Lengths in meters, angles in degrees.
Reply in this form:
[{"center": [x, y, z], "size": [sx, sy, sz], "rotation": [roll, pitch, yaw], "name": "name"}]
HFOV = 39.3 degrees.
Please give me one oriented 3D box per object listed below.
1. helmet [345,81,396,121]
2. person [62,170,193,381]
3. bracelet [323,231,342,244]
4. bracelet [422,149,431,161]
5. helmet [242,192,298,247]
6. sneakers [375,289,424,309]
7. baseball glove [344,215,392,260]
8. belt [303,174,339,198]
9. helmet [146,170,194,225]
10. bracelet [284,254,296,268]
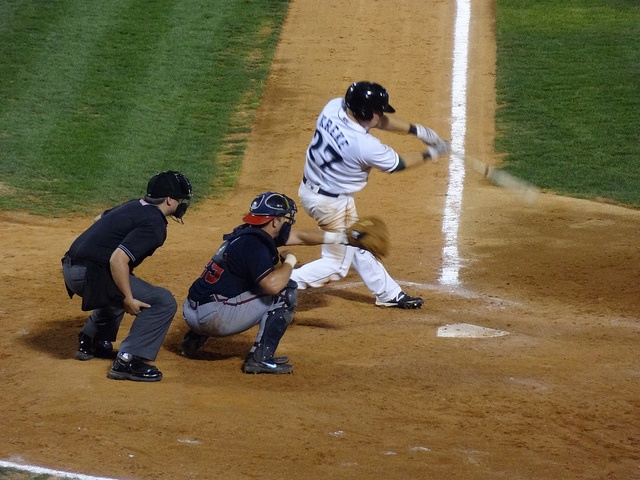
[{"center": [0.506, -1.598, 10.356], "size": [0.720, 0.296, 0.319], "rotation": [1, 55, -15], "name": "helmet"}, {"center": [-2.005, 0.356, 9.446], "size": [1.304, 2.193, 0.788], "rotation": [19, 20, 17], "name": "person"}, {"center": [0.118, -0.016, 10.086], "size": [0.226, 0.089, 0.183], "rotation": [0, -10, 13], "name": "bracelet"}, {"center": [1.246, -1.002, 10.681], "size": [0.110, 0.097, 0.032], "rotation": [12, -13, -1], "name": "bracelet"}, {"center": [-0.584, -0.234, 9.664], "size": [0.620, 0.410, 0.457], "rotation": [6, 1, -36], "name": "helmet"}, {"center": [0.964, 0.759, 11.276], "size": [0.649, 0.178, 0.210], "rotation": [0, 15, 1], "name": "sneakers"}, {"center": [0.532, -0.080, 10.496], "size": [0.365, 0.419, 0.600], "rotation": [-28, 23, -8], "name": "baseball glove"}, {"center": [-0.006, -0.609, 10.604], "size": [0.388, 0.066, 0.329], "rotation": [10, 12, -25], "name": "belt"}, {"center": [-1.624, -0.447, 9.488], "size": [0.468, 0.541, 0.308], "rotation": [9, 19, -10], "name": "helmet"}, {"center": [-0.335, 0.223, 9.593], "size": [0.128, 0.117, 0.206], "rotation": [10, 15, -3], "name": "bracelet"}]
